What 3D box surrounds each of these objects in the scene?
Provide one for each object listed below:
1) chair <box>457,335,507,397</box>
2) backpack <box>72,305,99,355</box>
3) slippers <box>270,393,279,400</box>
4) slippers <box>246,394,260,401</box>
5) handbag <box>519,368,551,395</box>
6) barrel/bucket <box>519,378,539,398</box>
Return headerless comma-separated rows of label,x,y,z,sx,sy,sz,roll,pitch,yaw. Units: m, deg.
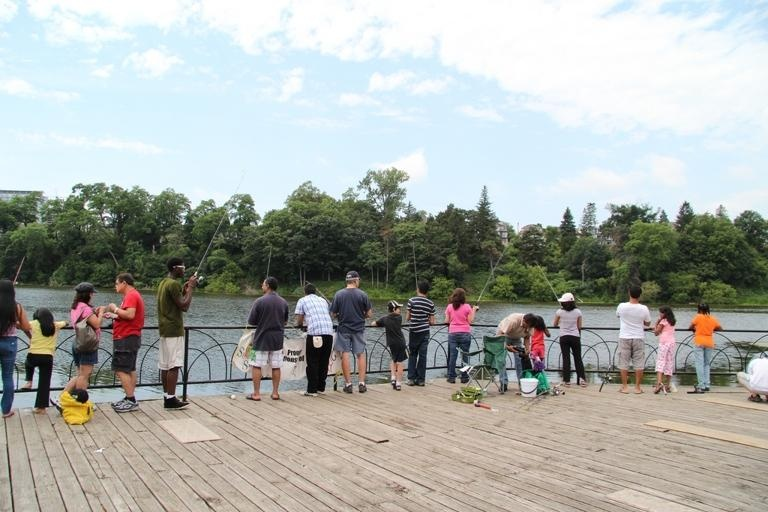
chair,2.394,2.162,12.653,0.902,1.090,0.885,1,-11,27
backpack,-4.774,1.185,10.121,0.375,0.788,0.335,0,10,-10
slippers,-2.013,2.623,11.664,0.089,0.090,0.238,0,-10,-3
slippers,-2.392,2.590,11.574,0.256,0.110,0.288,-1,9,-14
handbag,3.015,2.510,12.535,0.408,0.556,0.574,5,-5,-43
barrel/bucket,2.797,2.563,12.211,0.344,0.249,0.341,-1,0,0
